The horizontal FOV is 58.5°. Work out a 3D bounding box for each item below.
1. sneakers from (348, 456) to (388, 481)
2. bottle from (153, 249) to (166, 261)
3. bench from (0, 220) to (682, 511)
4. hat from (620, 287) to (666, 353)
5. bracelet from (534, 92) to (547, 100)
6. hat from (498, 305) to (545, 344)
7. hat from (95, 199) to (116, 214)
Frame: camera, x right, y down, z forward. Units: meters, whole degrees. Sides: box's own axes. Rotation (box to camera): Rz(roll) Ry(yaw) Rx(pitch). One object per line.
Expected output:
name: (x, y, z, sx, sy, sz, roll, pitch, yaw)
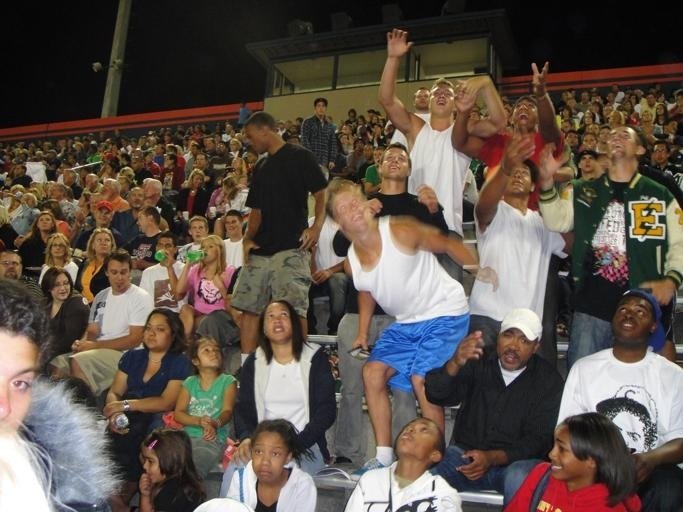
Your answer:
sneakers: (0.239, 1.464, 4.271, 0.350, 0.152, 0.124, -2, 3, -14)
bottle: (-2.095, -0.017, 7.059, 0.074, 0.084, 0.126, -5, 12, -4)
bench: (0.201, 0.807, 4.389, 3.133, 1.204, 0.755, -4, -20, 20)
hat: (2.225, 0.457, 4.351, 0.429, 0.459, 0.183, 5, -7, -37)
bracelet: (1.704, -1.364, 5.165, 0.071, 0.043, 0.100, -4, 12, 6)
hat: (1.339, 0.496, 4.422, 0.189, 0.164, 0.284, 16, -10, 34)
hat: (-3.571, -0.767, 9.170, 0.196, 0.117, 0.303, 14, 1, -33)
